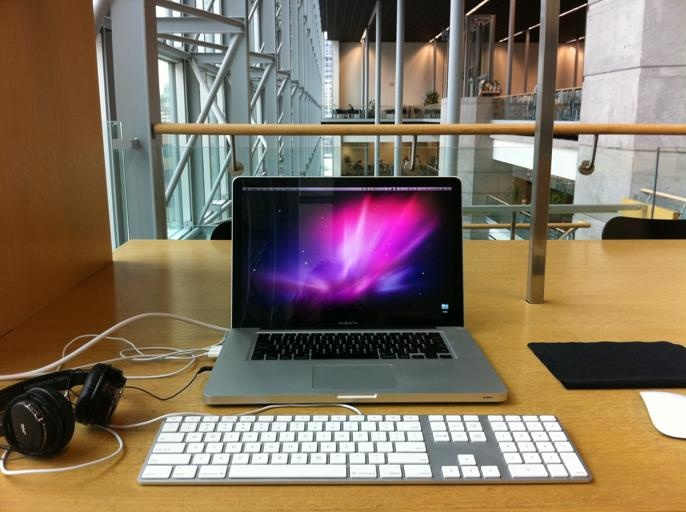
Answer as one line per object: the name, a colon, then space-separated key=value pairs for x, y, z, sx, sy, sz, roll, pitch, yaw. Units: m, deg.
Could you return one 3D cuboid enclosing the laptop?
laptop: x=0.006 y=-0.003 z=0.916 sx=0.425 sy=0.301 sz=0.352 roll=1 pitch=14 yaw=-1
